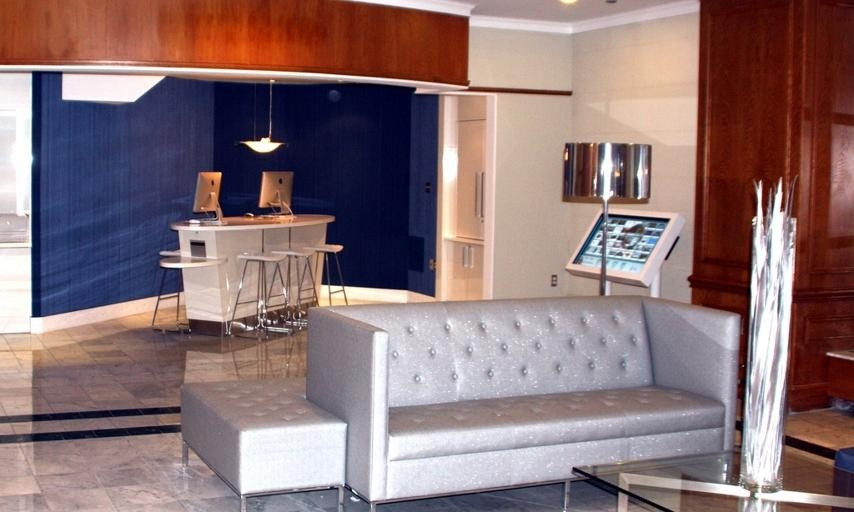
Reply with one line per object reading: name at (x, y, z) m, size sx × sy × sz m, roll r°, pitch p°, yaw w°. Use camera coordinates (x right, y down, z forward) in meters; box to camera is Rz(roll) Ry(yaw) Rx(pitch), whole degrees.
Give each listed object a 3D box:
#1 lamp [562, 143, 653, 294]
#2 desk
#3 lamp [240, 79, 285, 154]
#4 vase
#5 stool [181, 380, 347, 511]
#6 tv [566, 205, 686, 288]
lamp at (1.872, -0.433, 6.950) m, size 0.788 × 1.434 × 1.581 m, roll 4°, pitch 9°, yaw 18°
desk at (-2.567, 0.259, 9.873) m, size 1.486 × 1.398 × 3.065 m, roll 0°, pitch 4°, yaw 27°
lamp at (-2.695, -2.287, 11.041) m, size 0.657 × 1.172 × 0.752 m, roll -1°, pitch 9°, yaw -14°
vase at (1.972, 0.575, 3.868) m, size 0.237 × 1.577 × 0.224 m, roll 3°, pitch 9°, yaw 12°
stool at (-1.116, 1.035, 4.704) m, size 0.853 × 0.580 × 1.385 m, roll 3°, pitch 2°, yaw -24°
tv at (1.945, -0.167, 6.801) m, size 1.075 × 0.684 × 0.674 m, roll 7°, pitch -20°, yaw -29°
